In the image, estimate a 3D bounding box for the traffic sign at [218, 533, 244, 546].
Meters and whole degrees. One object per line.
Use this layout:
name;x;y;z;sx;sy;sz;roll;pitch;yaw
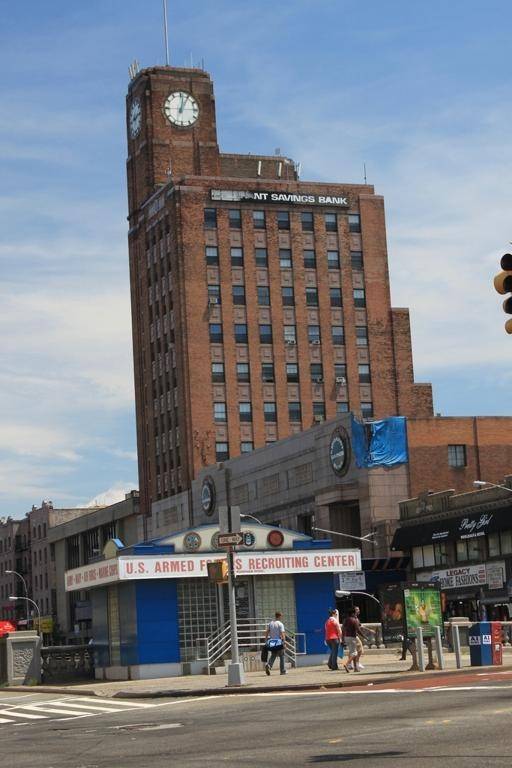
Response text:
traffic sign;-0.626;3.632;29.387;0.728;0.341;0.361;-12;-14;35

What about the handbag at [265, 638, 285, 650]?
handbag;0.427;6.526;31.504;0.459;0.300;0.313;-6;-12;7

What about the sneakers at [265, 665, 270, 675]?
sneakers;0.270;7.258;31.847;0.112;0.284;0.116;-7;11;13

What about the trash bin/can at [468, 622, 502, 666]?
trash bin/can;5.487;6.204;29.959;0.940;1.018;0.844;-1;-12;-15
